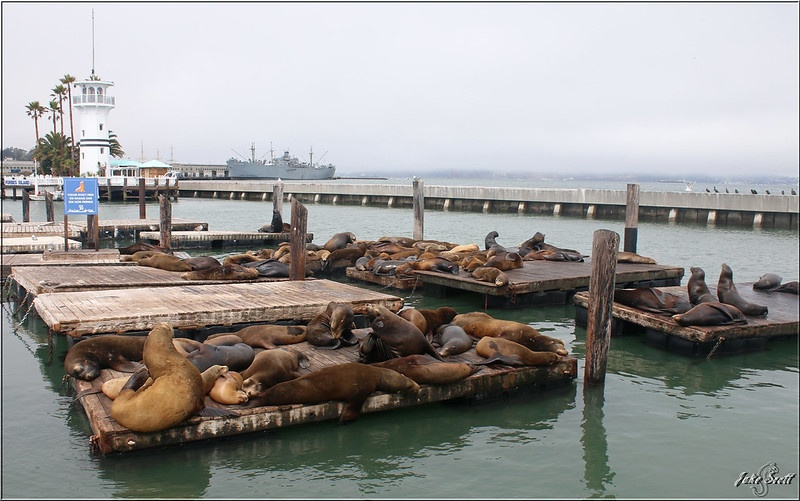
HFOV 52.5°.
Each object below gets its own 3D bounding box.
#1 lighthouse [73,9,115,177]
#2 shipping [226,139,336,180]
[{"bbox_3d":[-25.236,-10.381,66.646,2.746,8.485,2.386,-5,7,-18],"label":"lighthouse"},{"bbox_3d":[-16.894,-12.691,119.262,16.529,4.064,4.405,-3,14,-35],"label":"shipping"}]
